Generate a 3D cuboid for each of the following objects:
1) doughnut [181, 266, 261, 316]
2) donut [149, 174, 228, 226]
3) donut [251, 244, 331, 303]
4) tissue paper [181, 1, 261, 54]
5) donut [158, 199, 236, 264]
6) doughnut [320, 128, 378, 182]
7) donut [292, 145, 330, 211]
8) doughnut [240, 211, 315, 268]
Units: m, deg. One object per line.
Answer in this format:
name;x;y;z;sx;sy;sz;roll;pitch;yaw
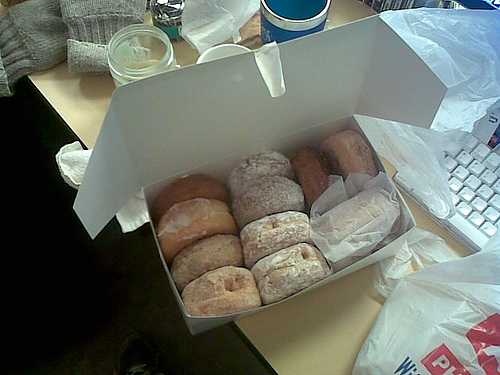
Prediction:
doughnut;-0.051;0.183;0.676;0.133;0.030;0.083;-16;59;-10
donut;-0.113;0.017;0.772;0.123;0.044;0.147;-14;45;-13
donut;0.077;0.146;0.707;0.138;0.055;0.090;-19;24;-13
tissue paper;-0.066;-0.341;0.859;0.176;0.137;0.112;-4;55;-2
donut;-0.096;0.063;0.770;0.146;0.149;0.048;-1;56;-45
doughnut;0.223;-0.053;0.840;0.086;0.096;0.112;-16;38;-27
donut;0.124;-0.028;0.789;0.027;0.105;0.114;-8;52;5
doughnut;0.052;0.112;0.704;0.146;0.079;0.089;-11;75;-10
